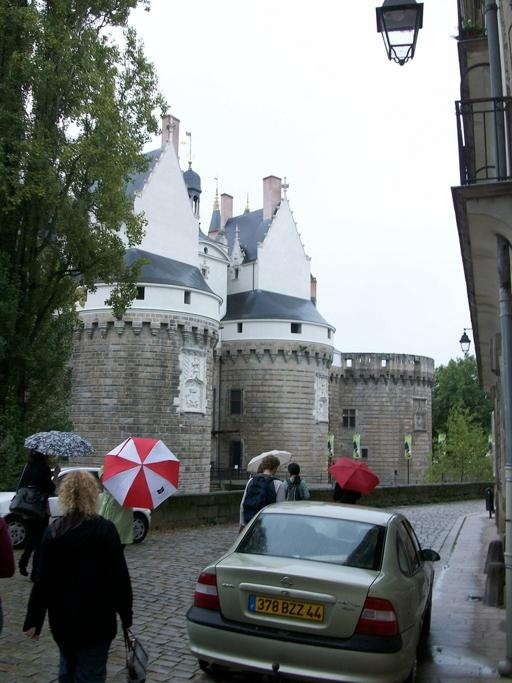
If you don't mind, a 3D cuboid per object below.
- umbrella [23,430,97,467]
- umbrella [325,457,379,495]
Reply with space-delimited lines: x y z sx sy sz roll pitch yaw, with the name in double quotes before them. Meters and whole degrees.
"umbrella" -2.318 1.206 9.558 0.720 0.287 0.728 5 0 1
"umbrella" 1.324 1.824 10.921 0.657 0.464 0.817 0 -5 6
